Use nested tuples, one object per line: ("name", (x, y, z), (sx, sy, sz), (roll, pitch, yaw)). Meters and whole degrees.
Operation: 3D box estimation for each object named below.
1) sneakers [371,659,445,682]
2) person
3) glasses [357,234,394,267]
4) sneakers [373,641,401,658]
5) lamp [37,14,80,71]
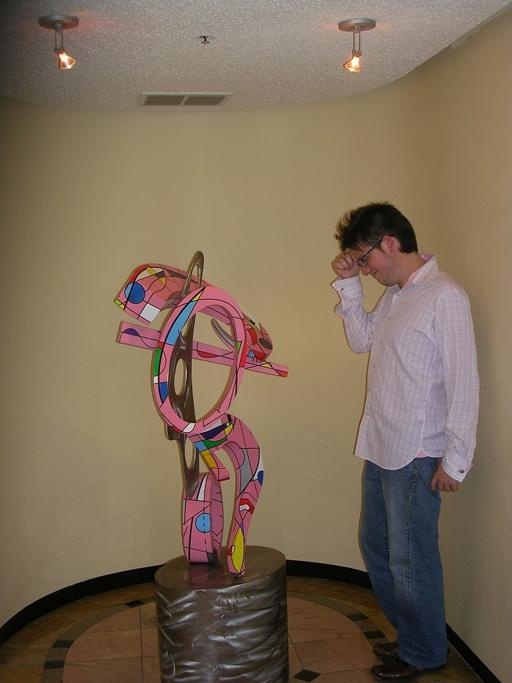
("sneakers", (0.554, 1.175, 2.242), (0.240, 0.064, 0.087), (2, -4, -5))
("person", (0.530, 0.353, 2.258), (0.355, 1.731, 0.697), (-1, -2, -21))
("glasses", (0.429, -0.331, 2.230), (0.091, 0.027, 0.088), (-41, -4, -9))
("sneakers", (0.504, 1.206, 2.420), (0.128, 0.048, 0.041), (1, 34, -1))
("lamp", (-0.684, -1.037, 2.159), (0.141, 0.161, 0.134), (-3, 20, -2))
